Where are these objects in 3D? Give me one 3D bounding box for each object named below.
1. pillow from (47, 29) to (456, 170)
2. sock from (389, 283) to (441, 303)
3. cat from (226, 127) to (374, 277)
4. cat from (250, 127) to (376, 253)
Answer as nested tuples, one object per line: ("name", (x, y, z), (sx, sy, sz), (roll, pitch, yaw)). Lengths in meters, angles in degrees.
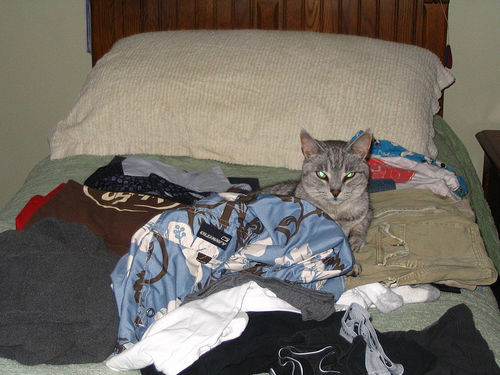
("pillow", (0.007, -0.544, 3.081), (2.226, 0.555, 0.692), (1, 36, 6))
("sock", (0.668, 0.421, 2.039), (0.147, 0.057, 0.091), (-3, 14, -14))
("cat", (0.387, -0.051, 2.914), (0.456, 0.643, 0.985), (-4, 18, -7))
("cat", (0.352, -0.087, 2.859), (0.446, 0.629, 1.046), (-8, 20, -16))
